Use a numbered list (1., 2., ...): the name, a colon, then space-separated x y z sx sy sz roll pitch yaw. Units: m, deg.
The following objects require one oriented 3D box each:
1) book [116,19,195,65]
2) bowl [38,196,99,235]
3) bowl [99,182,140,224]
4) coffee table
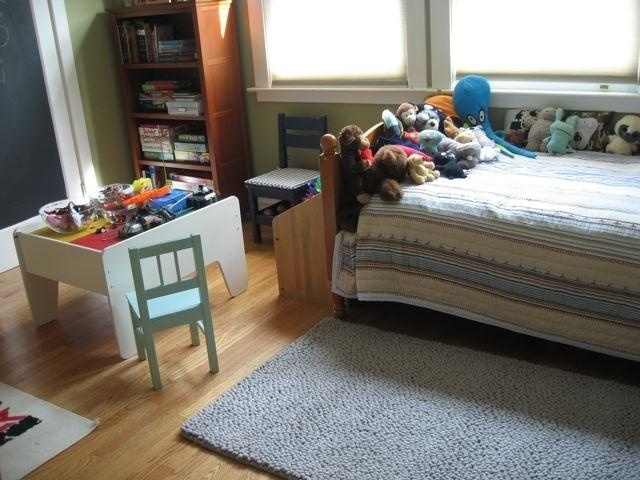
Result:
1. book: -1.232 -1.453 3.846 0.391 0.209 0.510 10 19 23
2. bowl: -1.324 -0.138 2.676 0.262 0.141 0.253 -2 22 1
3. bowl: -1.108 -0.215 2.718 0.213 0.196 0.215 -7 11 1
4. coffee table: -1.079 0.142 2.821 0.843 0.456 0.895 -16 21 -39
